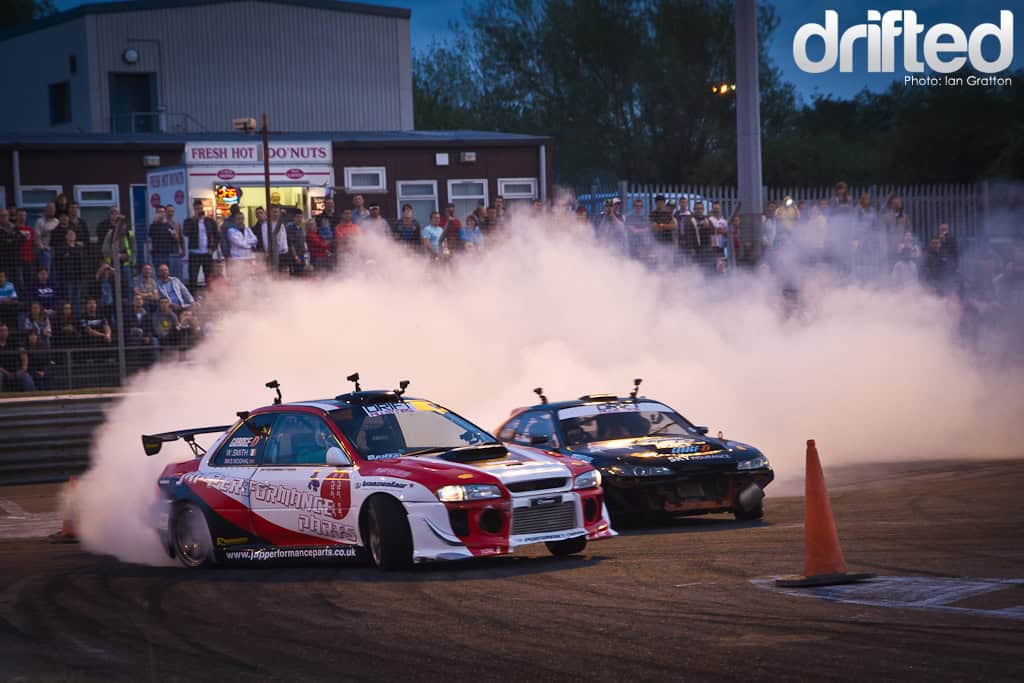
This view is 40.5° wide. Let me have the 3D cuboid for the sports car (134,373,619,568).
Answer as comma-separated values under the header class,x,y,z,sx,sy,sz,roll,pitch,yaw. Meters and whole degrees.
class,x,y,z,sx,sy,sz,roll,pitch,yaw
sports car,-1.690,1.741,16.904,5.438,2.040,1.935,3,13,26
